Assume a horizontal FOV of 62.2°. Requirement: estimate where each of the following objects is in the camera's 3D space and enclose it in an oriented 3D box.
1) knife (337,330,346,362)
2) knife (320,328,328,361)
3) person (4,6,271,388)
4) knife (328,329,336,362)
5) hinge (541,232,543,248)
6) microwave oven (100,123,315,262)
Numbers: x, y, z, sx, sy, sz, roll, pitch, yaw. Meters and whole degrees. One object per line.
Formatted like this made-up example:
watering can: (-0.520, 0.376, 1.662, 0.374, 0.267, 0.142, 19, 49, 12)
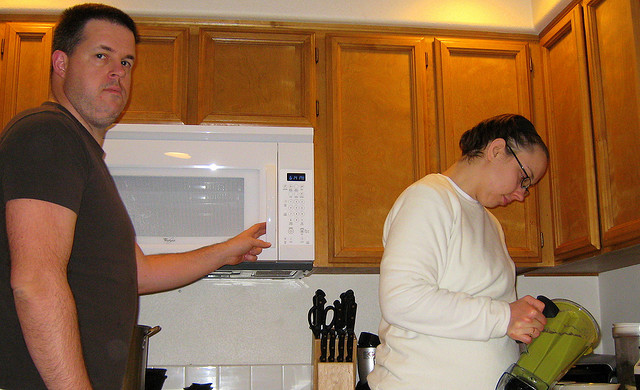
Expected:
knife: (0.102, 0.726, 2.544, 0.038, 0.136, 0.060, -1, -2, 8)
knife: (0.018, 0.724, 2.571, 0.036, 0.132, 0.104, -1, -2, 3)
person: (-0.742, -0.022, 1.819, 0.335, 1.268, 0.770, -1, -2, 6)
knife: (0.058, 0.725, 2.529, 0.026, 0.137, 0.038, -2, -2, 22)
hinge: (1.153, 0.225, 2.750, 0.010, 0.068, 0.003, 0, -2, -9)
microwave oven: (-0.724, 0.096, 2.790, 1.223, 0.725, 0.709, 1, -10, -38)
